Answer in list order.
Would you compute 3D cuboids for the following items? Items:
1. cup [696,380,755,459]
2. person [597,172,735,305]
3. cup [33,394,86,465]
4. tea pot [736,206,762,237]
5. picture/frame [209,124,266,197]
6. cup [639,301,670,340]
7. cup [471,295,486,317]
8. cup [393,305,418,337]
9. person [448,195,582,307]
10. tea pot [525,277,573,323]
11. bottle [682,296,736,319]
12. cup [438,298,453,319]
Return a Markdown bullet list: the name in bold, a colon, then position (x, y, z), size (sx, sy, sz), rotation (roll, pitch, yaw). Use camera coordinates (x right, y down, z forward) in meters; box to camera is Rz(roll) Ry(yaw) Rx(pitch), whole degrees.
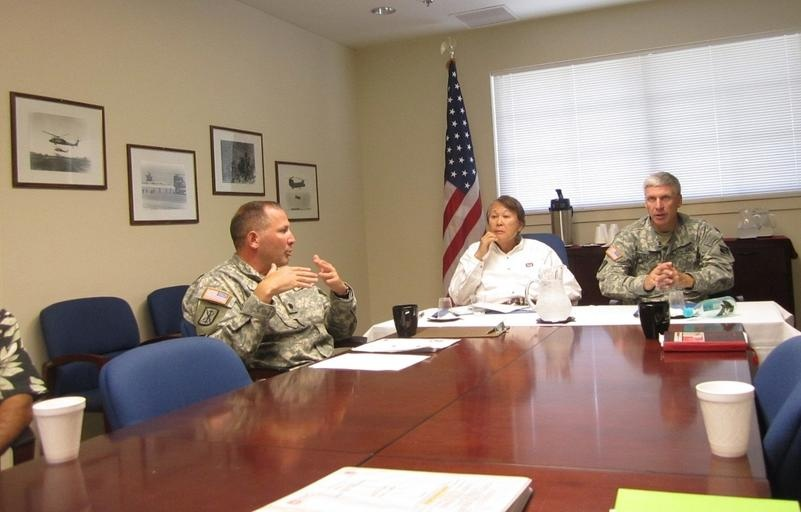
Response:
- **cup**: position (0.761, 0.391, 1.270), size (0.125, 0.134, 0.121), rotation (1, -13, 0)
- **person**: position (1.528, -0.098, 3.239), size (0.679, 0.796, 0.874), rotation (3, 9, 44)
- **cup**: position (-0.876, 0.449, 1.446), size (0.156, 0.157, 0.153), rotation (-2, -2, 0)
- **tea pot**: position (3.014, -0.292, 4.738), size (0.229, 0.263, 0.213), rotation (0, -1, 0)
- **picture/frame**: position (-1.434, -0.839, 4.739), size (0.027, 0.603, 0.738), rotation (-3, -1, 29)
- **cup**: position (0.984, 0.245, 2.121), size (0.134, 0.175, 0.141), rotation (-2, -1, 0)
- **cup**: position (0.426, 0.286, 3.060), size (0.077, 0.093, 0.093), rotation (-1, -7, 3)
- **cup**: position (0.026, 0.295, 2.479), size (0.115, 0.131, 0.145), rotation (2, 4, 15)
- **person**: position (0.870, -0.056, 4.054), size (0.799, 1.304, 0.439), rotation (-9, -35, 17)
- **tea pot**: position (0.698, 0.211, 2.610), size (0.222, 0.213, 0.183), rotation (3, 9, 38)
- **bottle**: position (1.428, 0.242, 2.540), size (0.201, 0.071, 0.110), rotation (-6, -1, 8)
- **cup**: position (0.253, 0.274, 2.856), size (0.088, 0.120, 0.091), rotation (-1, -1, 0)
